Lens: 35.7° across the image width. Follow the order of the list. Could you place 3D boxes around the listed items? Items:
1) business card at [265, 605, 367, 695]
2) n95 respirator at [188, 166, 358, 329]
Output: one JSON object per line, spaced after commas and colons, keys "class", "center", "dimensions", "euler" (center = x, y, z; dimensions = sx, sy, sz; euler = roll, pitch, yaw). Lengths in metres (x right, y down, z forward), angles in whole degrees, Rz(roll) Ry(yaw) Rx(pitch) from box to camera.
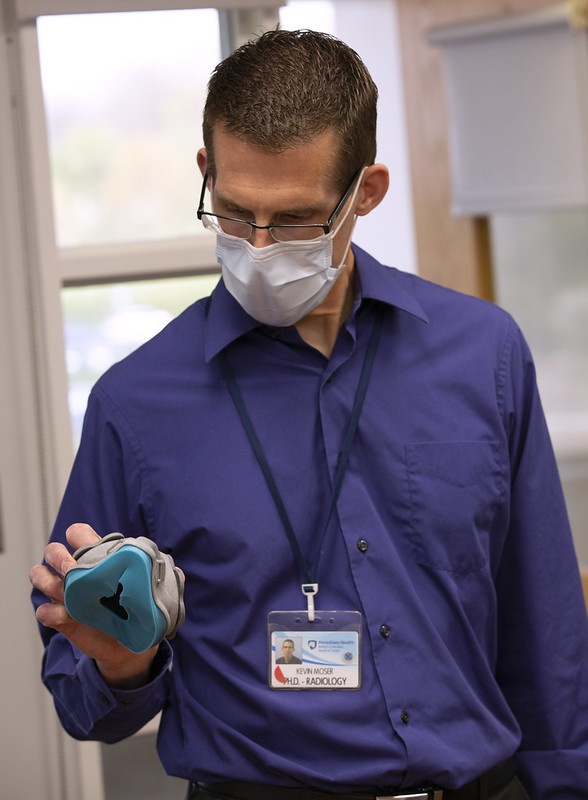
{"class": "business card", "center": [0.034, 0.382, 1.374], "dimensions": [0.150, 0.112, 0.014], "euler": [0, -15, 1]}
{"class": "n95 respirator", "center": [-0.010, -0.257, 1.520], "dimensions": [0.244, 0.164, 0.260], "euler": [11, 47, 17]}
